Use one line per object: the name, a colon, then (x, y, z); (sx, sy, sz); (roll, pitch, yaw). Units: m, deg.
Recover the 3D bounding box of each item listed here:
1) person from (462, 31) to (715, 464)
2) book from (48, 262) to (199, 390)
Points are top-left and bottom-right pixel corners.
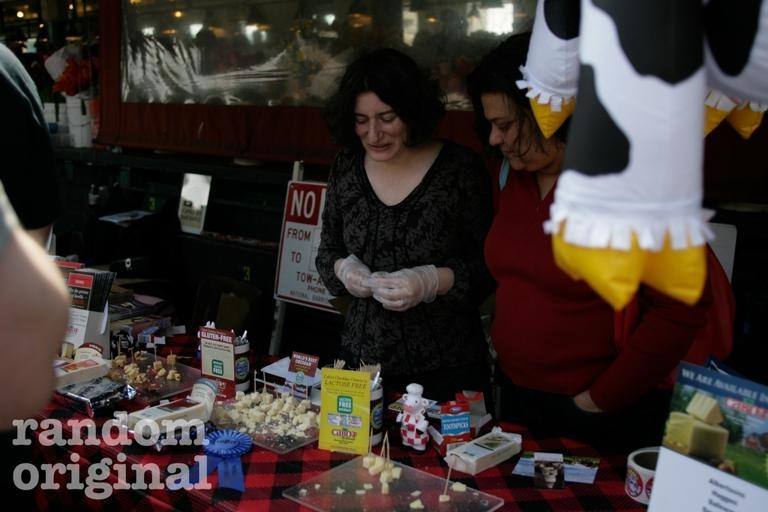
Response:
person: (0.804, 0.260, 2.266); (0.663, 2.062, 0.985); (-14, 24, -4)
book: (-1.258, 0.258, 2.626); (0.479, 0.220, 0.670); (2, 10, -9)
